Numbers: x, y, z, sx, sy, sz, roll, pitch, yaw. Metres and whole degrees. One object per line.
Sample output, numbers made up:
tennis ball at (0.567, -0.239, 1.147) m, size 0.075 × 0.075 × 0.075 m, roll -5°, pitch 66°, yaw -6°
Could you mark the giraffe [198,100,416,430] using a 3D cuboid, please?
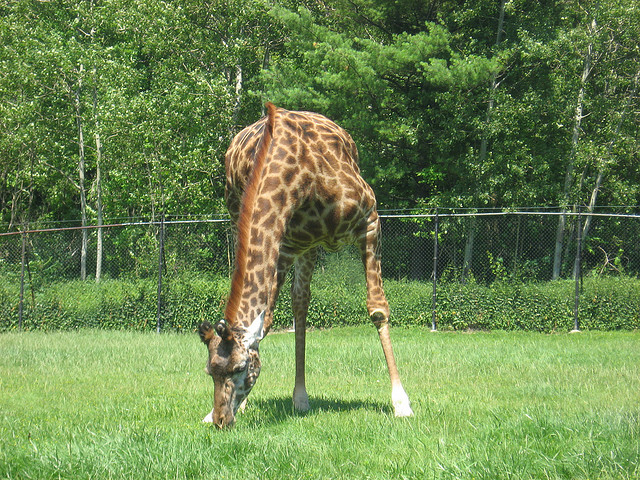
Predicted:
giraffe at (-0.727, 0.734, 31.566) m, size 5.221 × 9.313 × 1.890 m, roll 2°, pitch 2°, yaw -8°
